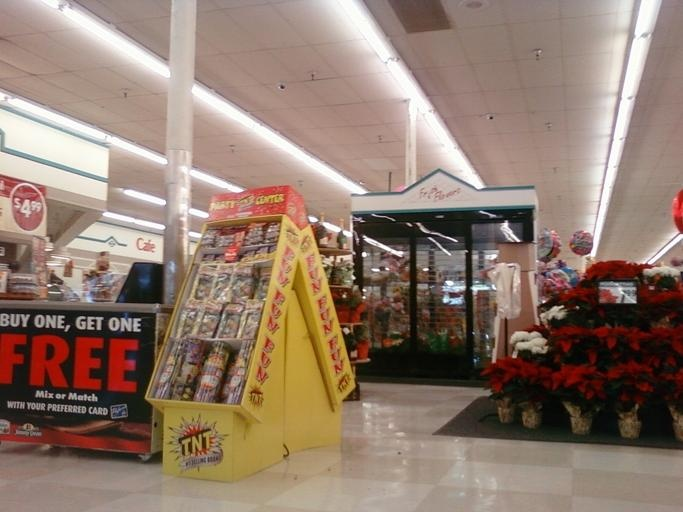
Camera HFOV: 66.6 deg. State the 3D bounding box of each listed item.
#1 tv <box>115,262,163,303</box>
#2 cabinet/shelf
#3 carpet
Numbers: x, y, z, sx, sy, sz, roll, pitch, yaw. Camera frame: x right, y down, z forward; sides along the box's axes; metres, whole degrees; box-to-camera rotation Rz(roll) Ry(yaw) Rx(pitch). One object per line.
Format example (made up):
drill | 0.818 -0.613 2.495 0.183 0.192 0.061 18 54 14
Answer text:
tv | -1.842 0.255 4.752 0.512 0.306 0.116 6 -6 -39
cabinet/shelf | -0.742 0.414 4.167 0.752 1.458 1.166 -5 -8 29
carpet | 2.132 1.580 5.133 2.031 0.174 1.592 -2 -5 21
